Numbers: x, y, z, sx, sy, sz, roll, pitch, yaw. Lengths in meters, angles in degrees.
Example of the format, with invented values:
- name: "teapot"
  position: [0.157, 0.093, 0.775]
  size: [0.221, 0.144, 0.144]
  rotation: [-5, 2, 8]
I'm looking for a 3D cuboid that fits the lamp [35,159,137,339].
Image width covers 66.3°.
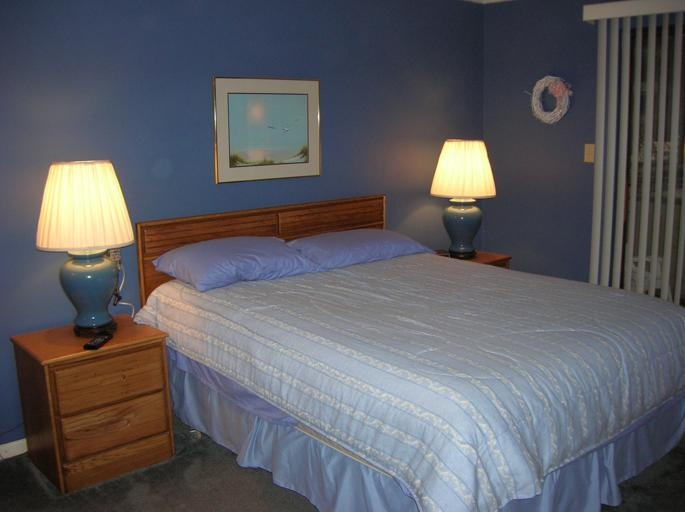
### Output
- name: "lamp"
  position: [-1.440, -0.061, 3.100]
  size: [0.433, 0.990, 0.546]
  rotation: [4, 15, 21]

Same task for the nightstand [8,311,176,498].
- name: "nightstand"
  position: [-1.425, 0.739, 3.362]
  size: [0.900, 1.103, 0.825]
  rotation: [-9, 11, -42]

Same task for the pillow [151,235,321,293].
- name: "pillow"
  position: [-0.705, 0.030, 3.548]
  size: [0.642, 0.164, 0.498]
  rotation: [-6, 16, -35]

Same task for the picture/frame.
- name: "picture/frame"
  position: [-0.627, -0.994, 4.027]
  size: [0.836, 0.759, 0.028]
  rotation: [-5, 9, -34]

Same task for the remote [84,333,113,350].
- name: "remote"
  position: [-1.376, 0.473, 2.942]
  size: [0.055, 0.024, 0.112]
  rotation: [2, 12, 10]
